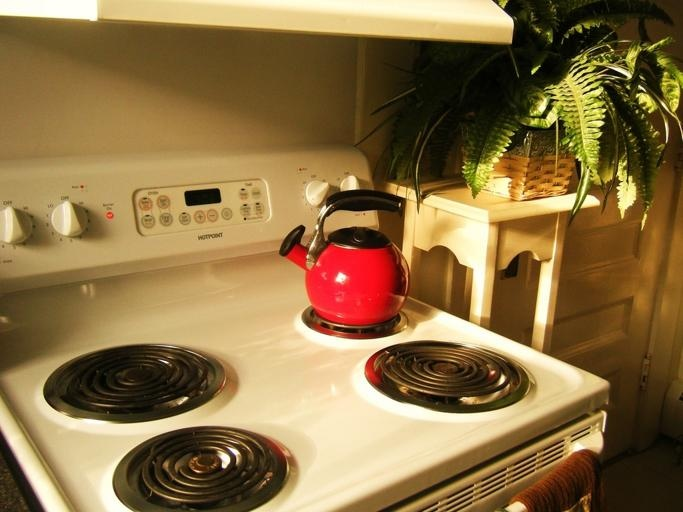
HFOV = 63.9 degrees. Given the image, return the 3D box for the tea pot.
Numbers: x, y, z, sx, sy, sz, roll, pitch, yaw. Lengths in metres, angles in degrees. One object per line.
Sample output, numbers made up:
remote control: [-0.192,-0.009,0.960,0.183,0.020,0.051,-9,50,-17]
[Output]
tea pot: [0.023,-0.013,1.218,0.295,0.267,0.238,2,11,-3]
